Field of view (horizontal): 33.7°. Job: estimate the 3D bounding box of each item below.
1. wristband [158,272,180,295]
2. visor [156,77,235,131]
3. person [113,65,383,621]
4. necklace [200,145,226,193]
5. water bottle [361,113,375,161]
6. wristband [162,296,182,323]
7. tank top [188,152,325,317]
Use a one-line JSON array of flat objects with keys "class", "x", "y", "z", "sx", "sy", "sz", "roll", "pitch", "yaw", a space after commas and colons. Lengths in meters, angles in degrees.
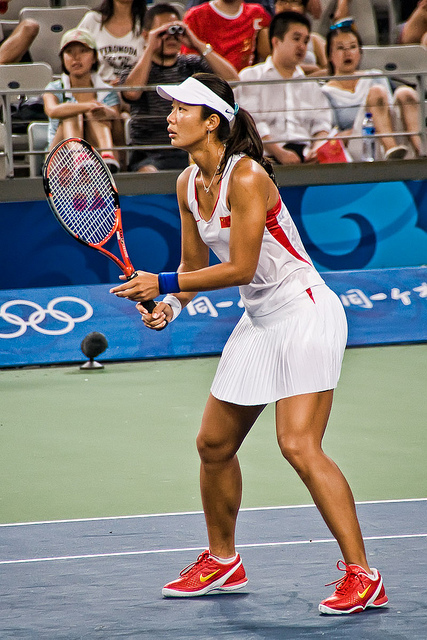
[{"class": "wristband", "x": -0.134, "y": -0.111, "z": 2.123, "sx": 0.055, "sy": 0.057, "sz": 0.068, "roll": -6, "pitch": 0, "yaw": -13}, {"class": "visor", "x": -0.047, "y": -0.643, "z": 2.117, "sx": 0.198, "sy": 0.059, "sz": 0.122, "roll": 25, "pitch": 1, "yaw": -18}, {"class": "person", "x": 0.120, "y": 0.047, "z": 2.161, "sx": 0.713, "sy": 1.601, "sz": 0.706, "roll": -6, "pitch": -8, "yaw": 38}, {"class": "necklace", "x": -0.002, "y": -0.459, "z": 2.145, "sx": 0.078, "sy": 0.133, "sz": 0.097, "roll": 2, "pitch": 33, "yaw": 4}, {"class": "water bottle", "x": 1.747, "y": -2.072, "z": 7.950, "sx": 0.188, "sy": 0.526, "sz": 0.155, "roll": 5, "pitch": 34, "yaw": 9}, {"class": "wristband", "x": -0.128, "y": -0.038, "z": 2.420, "sx": 0.073, "sy": 0.074, "sz": 0.079, "roll": -6, "pitch": -9, "yaw": -46}, {"class": "tank top", "x": 0.117, "y": -0.292, "z": 2.232, "sx": 0.320, "sy": 0.512, "sz": 0.329, "roll": -26, "pitch": 20, "yaw": -15}]
